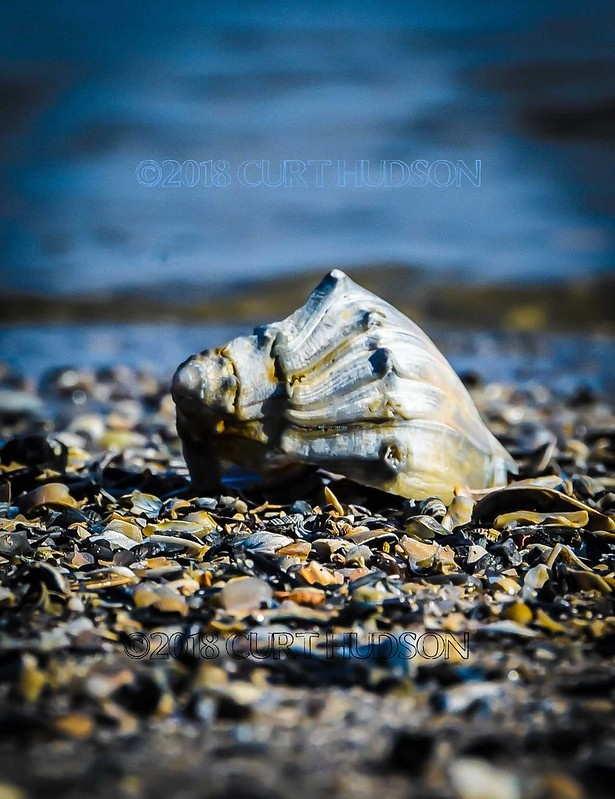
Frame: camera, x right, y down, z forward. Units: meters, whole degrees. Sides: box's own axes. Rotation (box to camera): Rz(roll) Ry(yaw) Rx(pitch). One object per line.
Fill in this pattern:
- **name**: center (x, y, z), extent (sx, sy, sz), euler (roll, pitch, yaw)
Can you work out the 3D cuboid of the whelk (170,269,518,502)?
- **whelk**: center (-0.022, -0.067, 2.339), extent (0.606, 0.392, 0.793), euler (11, 8, 30)
